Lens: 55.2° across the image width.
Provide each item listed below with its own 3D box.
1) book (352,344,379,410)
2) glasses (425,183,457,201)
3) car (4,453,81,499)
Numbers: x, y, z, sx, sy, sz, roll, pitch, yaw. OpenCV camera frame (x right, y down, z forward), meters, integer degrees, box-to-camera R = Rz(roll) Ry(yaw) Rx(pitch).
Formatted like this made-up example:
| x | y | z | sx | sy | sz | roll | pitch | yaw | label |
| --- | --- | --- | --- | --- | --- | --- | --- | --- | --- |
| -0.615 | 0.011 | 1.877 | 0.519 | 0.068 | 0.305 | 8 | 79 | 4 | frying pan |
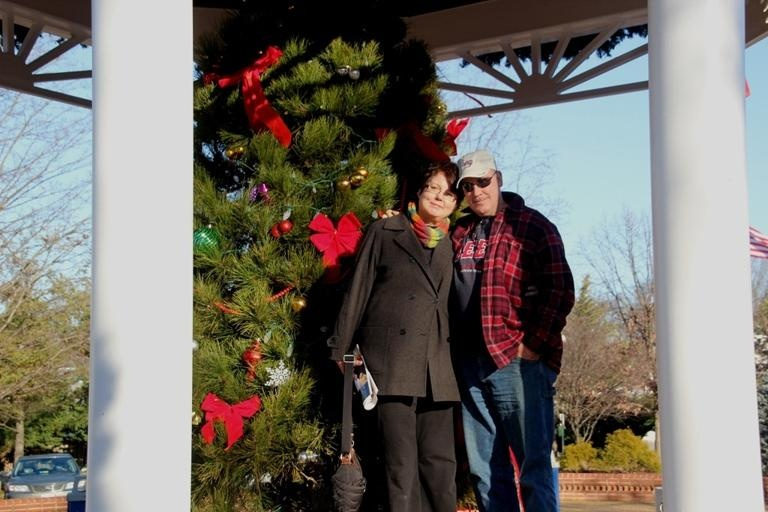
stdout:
| x | y | z | sx | sy | sz | roll | pitch | yaw | label |
| --- | --- | --- | --- | --- | --- | --- | --- | --- | --- |
| -0.144 | 0.936 | 5.484 | 0.124 | 0.342 | 0.348 | -5 | -42 | -19 | book |
| 0.447 | -0.491 | 5.728 | 0.139 | 0.045 | 0.147 | 15 | -14 | 1 | glasses |
| -6.298 | 4.077 | 13.689 | 1.217 | 0.773 | 1.519 | 3 | -17 | -28 | car |
